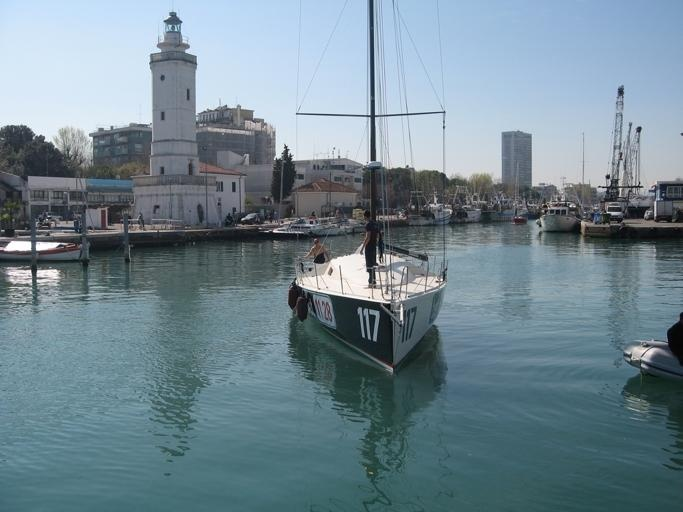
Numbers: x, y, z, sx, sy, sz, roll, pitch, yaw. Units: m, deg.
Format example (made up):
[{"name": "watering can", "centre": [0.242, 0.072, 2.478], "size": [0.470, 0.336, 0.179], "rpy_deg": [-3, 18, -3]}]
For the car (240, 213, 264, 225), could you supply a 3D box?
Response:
[{"name": "car", "centre": [-10.625, -4.297, 81.341], "size": [1.226, 0.914, 2.630], "rpy_deg": [0, 0, 14]}]

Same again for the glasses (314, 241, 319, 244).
[{"name": "glasses", "centre": [-1.055, -0.557, 26.907], "size": [0.222, 0.145, 0.284], "rpy_deg": [2, 6, 3]}]

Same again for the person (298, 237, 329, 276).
[{"name": "person", "centre": [-0.956, 0.001, 26.260], "size": [0.937, 1.429, 1.503], "rpy_deg": [0, 14, 0]}]

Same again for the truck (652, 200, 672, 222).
[{"name": "truck", "centre": [34.552, -4.916, 76.065], "size": [1.782, 2.280, 1.117], "rpy_deg": [9, 18, 32]}]

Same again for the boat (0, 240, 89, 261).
[{"name": "boat", "centre": [-20.092, -0.299, 46.551], "size": [7.175, 1.189, 2.033], "rpy_deg": [2, 6, 20]}]
